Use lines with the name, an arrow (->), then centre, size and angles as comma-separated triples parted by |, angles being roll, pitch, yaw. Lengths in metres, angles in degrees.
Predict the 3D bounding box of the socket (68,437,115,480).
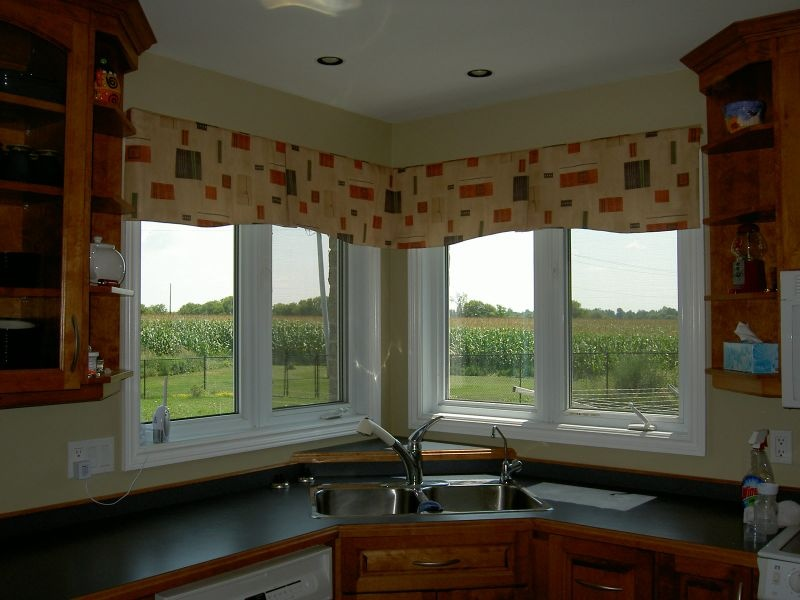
socket -> -1.305, 0.664, 2.780 | 0.196, 0.182, 0.059 | 0, -2, -43

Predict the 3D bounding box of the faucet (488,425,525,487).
faucet -> 0.502, 0.782, 3.325 | 0.187, 0.275, 0.098 | 18, -20, -27

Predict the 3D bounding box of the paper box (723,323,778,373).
paper box -> 1.500, 0.217, 2.836 | 0.137, 0.213, 0.335 | 0, 7, 2

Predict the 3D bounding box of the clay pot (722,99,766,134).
clay pot -> 1.437, -0.767, 2.769 | 0.132, 0.121, 0.147 | 2, -7, -18

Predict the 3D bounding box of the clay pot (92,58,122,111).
clay pot -> -1.163, -0.840, 2.565 | 0.096, 0.179, 0.100 | 3, 9, -1

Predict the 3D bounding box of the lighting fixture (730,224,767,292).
lighting fixture -> 1.535, -0.192, 2.922 | 0.133, 0.278, 0.133 | 0, 3, 1

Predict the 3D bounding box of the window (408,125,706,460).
window -> 0.867, -0.053, 3.480 | 1.794, 1.746, 0.249 | 0, 4, 39
